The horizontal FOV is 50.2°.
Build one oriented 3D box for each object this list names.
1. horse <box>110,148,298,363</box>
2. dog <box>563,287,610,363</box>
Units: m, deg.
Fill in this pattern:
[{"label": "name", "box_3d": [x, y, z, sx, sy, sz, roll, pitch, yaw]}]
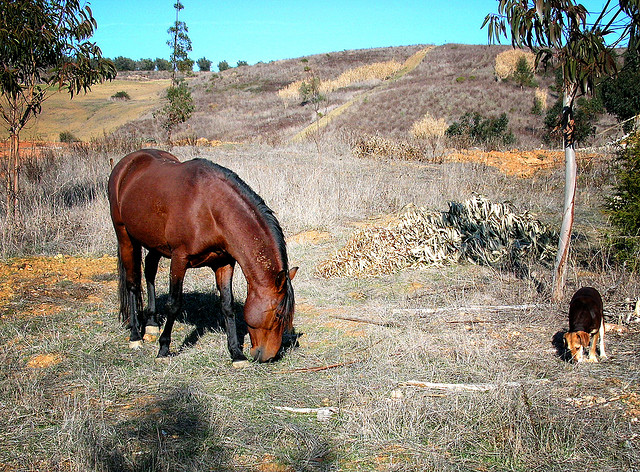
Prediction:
[{"label": "horse", "box_3d": [-2.063, 0.307, 11.337, 3.311, 3.484, 1.130, 2, 10, 31]}, {"label": "dog", "box_3d": [4.236, 1.429, 10.989, 0.695, 1.054, 0.704, 4, 10, 20]}]
